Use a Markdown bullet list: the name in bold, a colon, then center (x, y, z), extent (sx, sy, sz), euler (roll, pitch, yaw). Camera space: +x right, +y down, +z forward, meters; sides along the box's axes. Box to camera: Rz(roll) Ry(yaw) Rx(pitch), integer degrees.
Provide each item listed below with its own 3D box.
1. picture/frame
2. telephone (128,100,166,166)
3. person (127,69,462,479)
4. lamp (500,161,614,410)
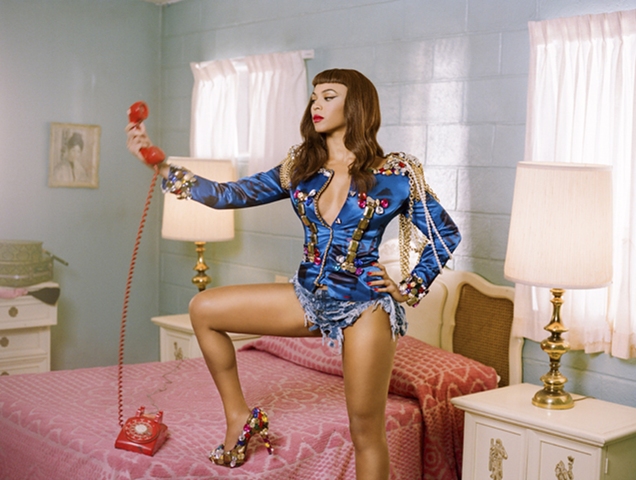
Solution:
- **picture/frame**: center (-2.090, -0.714, 4.389), extent (0.491, 0.675, 0.062), euler (-4, 7, -40)
- **telephone**: center (-0.593, -0.355, 1.789), extent (0.081, 0.249, 0.123), euler (-12, -15, -44)
- **person**: center (-0.206, 0.350, 2.748), extent (1.407, 2.482, 1.101), euler (15, -21, -36)
- **lamp**: center (1.051, 0.214, 2.288), extent (0.400, 1.094, 0.272), euler (-2, 8, -14)
